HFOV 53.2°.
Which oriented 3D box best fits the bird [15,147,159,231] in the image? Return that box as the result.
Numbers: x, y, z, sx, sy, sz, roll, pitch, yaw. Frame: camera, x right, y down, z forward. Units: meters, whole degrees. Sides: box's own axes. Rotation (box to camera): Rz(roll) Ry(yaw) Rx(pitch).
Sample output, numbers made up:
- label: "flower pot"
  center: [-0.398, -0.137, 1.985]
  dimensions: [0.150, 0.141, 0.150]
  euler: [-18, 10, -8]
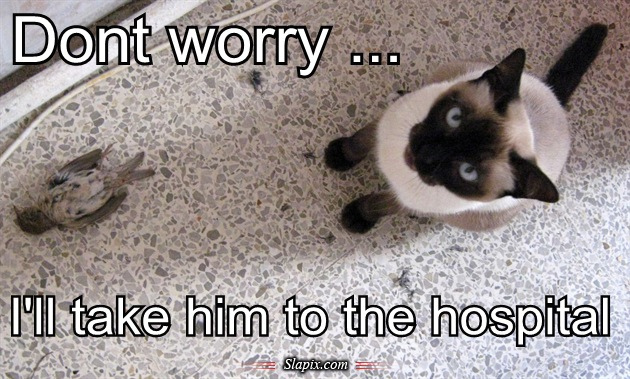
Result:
- label: "bird"
  center: [-0.992, 0.010, 2.717]
  dimensions: [0.601, 0.251, 0.274]
  euler: [-24, 94, 9]
